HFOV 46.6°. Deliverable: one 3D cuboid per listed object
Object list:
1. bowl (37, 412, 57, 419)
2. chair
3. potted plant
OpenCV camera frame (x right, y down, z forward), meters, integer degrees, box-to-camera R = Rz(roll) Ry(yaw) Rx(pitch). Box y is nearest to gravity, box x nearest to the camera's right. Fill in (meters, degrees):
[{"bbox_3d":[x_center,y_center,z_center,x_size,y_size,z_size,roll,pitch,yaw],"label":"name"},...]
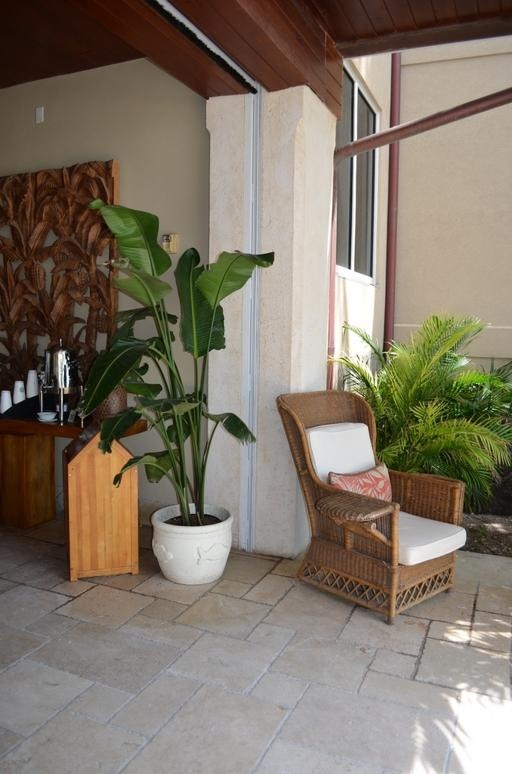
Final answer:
[{"bbox_3d":[-1.283,0.184,3.646,0.106,0.048,0.172,1,2,-21],"label":"bowl"},{"bbox_3d":[0.610,0.515,2.971,0.857,0.902,0.878,-2,5,-20],"label":"chair"},{"bbox_3d":[-0.417,0.089,3.004,0.887,1.676,0.930,-2,-4,9],"label":"potted plant"}]
